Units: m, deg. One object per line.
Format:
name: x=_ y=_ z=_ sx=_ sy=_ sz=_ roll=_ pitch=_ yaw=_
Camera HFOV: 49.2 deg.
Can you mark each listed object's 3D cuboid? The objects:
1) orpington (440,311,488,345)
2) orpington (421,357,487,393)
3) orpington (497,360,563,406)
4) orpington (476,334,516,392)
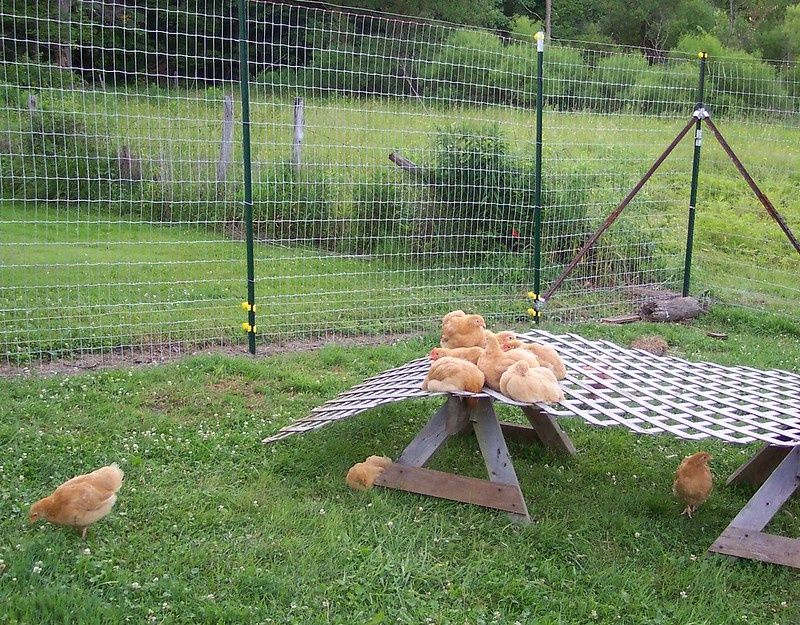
orpington: x=0.540 y=0.124 z=7.500 sx=0.311 sy=0.277 sz=0.235 roll=11 pitch=9 yaw=43
orpington: x=0.409 y=0.489 z=6.685 sx=0.337 sy=0.244 sz=0.256 roll=4 pitch=2 yaw=15
orpington: x=1.014 y=0.553 z=6.620 sx=0.291 sy=0.316 sz=0.406 roll=-9 pitch=14 yaw=-30
orpington: x=0.732 y=0.398 z=6.839 sx=0.267 sy=0.415 sz=0.366 roll=9 pitch=3 yaw=-40
